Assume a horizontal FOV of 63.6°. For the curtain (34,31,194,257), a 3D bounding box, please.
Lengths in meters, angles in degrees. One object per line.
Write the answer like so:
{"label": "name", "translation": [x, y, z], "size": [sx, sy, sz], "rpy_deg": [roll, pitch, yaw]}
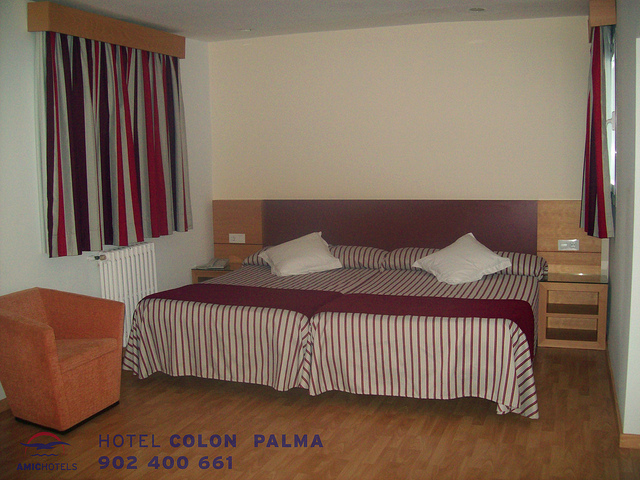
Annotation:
{"label": "curtain", "translation": [-1.966, -0.924, 4.830], "size": [0.222, 2.124, 2.178], "rpy_deg": [5, 9, 27]}

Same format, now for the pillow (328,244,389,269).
{"label": "pillow", "translation": [0.419, 0.144, 5.450], "size": [0.412, 0.125, 0.269], "rpy_deg": [2, 43, 7]}

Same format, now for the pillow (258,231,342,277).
{"label": "pillow", "translation": [-0.190, 0.173, 5.279], "size": [0.520, 0.142, 0.497], "rpy_deg": [-18, 33, -20]}

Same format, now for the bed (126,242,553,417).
{"label": "bed", "translation": [0.281, 0.584, 4.713], "size": [3.252, 0.830, 2.333], "rpy_deg": [4, 13, 22]}

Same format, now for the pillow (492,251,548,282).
{"label": "pillow", "translation": [1.958, 0.209, 4.937], "size": [0.445, 0.114, 0.290], "rpy_deg": [2, 48, 25]}

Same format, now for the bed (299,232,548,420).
{"label": "bed", "translation": [1.081, 0.564, 4.719], "size": [1.853, 0.968, 2.616], "rpy_deg": [-1, 8, 25]}
